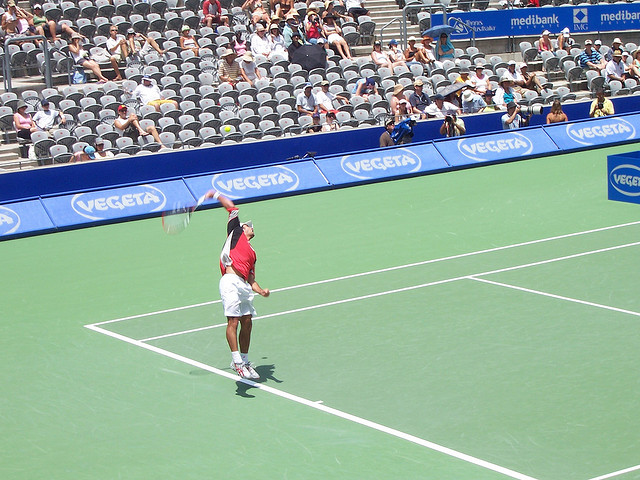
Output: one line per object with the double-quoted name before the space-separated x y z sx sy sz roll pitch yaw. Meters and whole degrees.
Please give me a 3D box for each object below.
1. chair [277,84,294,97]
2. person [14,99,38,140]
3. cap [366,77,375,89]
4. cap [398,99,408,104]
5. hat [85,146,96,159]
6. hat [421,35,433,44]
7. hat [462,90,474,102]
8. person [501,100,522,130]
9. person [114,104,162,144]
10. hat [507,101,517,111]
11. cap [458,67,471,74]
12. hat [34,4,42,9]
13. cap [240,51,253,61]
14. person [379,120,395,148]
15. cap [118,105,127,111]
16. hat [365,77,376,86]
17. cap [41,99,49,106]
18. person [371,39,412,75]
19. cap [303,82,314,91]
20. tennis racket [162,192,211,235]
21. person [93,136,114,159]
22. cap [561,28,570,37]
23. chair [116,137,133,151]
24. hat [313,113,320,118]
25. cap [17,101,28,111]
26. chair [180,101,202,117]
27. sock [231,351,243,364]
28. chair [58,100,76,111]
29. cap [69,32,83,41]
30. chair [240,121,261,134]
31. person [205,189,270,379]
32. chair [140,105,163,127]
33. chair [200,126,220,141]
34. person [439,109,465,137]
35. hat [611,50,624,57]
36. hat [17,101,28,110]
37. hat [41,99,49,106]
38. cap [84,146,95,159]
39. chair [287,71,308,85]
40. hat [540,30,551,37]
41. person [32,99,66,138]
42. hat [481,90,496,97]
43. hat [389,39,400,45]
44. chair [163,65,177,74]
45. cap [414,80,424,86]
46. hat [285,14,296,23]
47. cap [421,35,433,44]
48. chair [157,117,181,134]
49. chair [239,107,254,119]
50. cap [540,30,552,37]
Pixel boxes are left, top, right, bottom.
"chair" -0.951 -4.122 25.228 0.432 0.352 0.587 -10 12 2
"person" -7.060 -2.808 21.757 0.465 0.845 0.562 -15 13 -18
"cap" 1.397 -4.367 25.450 0.221 0.271 0.282 -10 -15 12
"cap" 2.166 -3.635 23.852 0.234 0.053 0.229 -1 3 -14
"hat" -5.290 -2.036 21.040 0.116 0.305 0.198 -38 1 35
"hat" 3.491 -6.441 29.346 0.290 0.081 0.265 9 -12 -32
"hat" 4.165 -4.017 25.421 0.350 0.327 0.232 -16 14 -26
"person" 5.209 -3.393 24.992 0.543 0.699 0.629 -6 13 17
"person" -4.464 -2.857 21.913 1.039 0.711 0.455 8 27 17
"hat" 5.217 -3.626 24.814 0.355 0.244 0.344 -1 8 5
"cap" 4.546 -5.323 28.682 0.513 0.157 0.487 4 9 22
"hat" -8.152 -6.699 26.227 0.245 0.114 0.345 -2 11 -11
"cap" -2.066 -5.047 25.318 0.299 0.148 0.296 31 35 7
"person" 1.694 -2.710 23.224 0.461 0.675 0.864 -10 12 4
"cap" -4.763 -3.184 21.927 0.195 0.110 0.268 -13 12 -14
"hat" 1.392 -4.425 25.526 0.221 0.204 0.441 -7 12 15
"cap" -6.736 -3.356 22.266 0.157 0.143 0.307 -12 12 -10
"person" 1.961 -5.625 28.194 1.639 1.036 0.703 19 30 29
"cap" -0.336 -4.213 24.798 0.268 0.128 0.373 -5 0 5
"tennis racket" -2.594 -0.508 17.440 0.312 0.674 2.055 -15 -10 -27
"person" -5.054 -2.141 21.105 0.427 0.461 0.978 -13 12 -11
"cap" 8.805 -7.417 32.728 0.273 0.319 0.770 -7 12 16
"chair" -4.584 -2.275 21.390 0.366 0.245 0.391 -13 12 -14
"hat" -0.109 -3.193 23.458 0.249 0.123 0.392 1 4 0
"cap" -7.205 -3.220 21.985 0.296 0.147 0.276 -31 8 -7
"chair" -3.290 -3.323 23.191 0.517 0.428 0.657 -12 12 -8
"sock" -1.159 1.615 12.668 0.112 0.194 0.150 -14 13 -13
"chair" -6.362 -3.388 22.889 0.284 0.347 0.298 -5 16 -29
"cap" -6.955 -5.790 25.840 0.420 0.170 0.400 -2 -9 -13
"chair" -1.755 -2.843 23.057 0.369 0.408 0.331 3 17 26
"person" -1.141 0.611 12.802 0.709 2.789 0.804 -12 13 -5
"chair" -4.206 -3.088 22.639 0.526 0.621 0.564 -9 14 -29
"chair" -2.734 -2.635 22.229 0.338 0.387 0.306 -7 32 -11
"person" 3.517 -3.080 24.415 0.609 0.630 0.933 -3 14 29
"hat" 9.678 -6.059 29.690 0.312 0.115 0.286 0 7 -10
"hat" -7.212 -3.232 22.003 0.275 0.137 0.266 -25 9 15
"hat" -6.734 -3.354 22.255 0.157 0.143 0.284 -12 12 -10
"cap" -5.322 -2.020 21.050 0.219 0.282 0.187 -13 13 -12
"chair" -0.588 -4.616 26.019 0.465 0.563 0.479 -8 18 -22
"hat" 7.862 -7.185 31.736 0.327 0.136 0.429 -9 3 7
"person" -6.562 -2.889 22.051 0.874 0.980 0.576 -2 6 -12
"hat" 4.697 -4.092 25.520 0.307 0.174 0.551 -8 12 8
"hat" 2.330 -6.304 29.115 0.302 0.160 0.443 0 11 -9
"chair" -4.202 -4.756 25.408 0.398 0.241 0.327 -11 12 -5
"cap" 2.659 -4.287 25.030 0.217 0.109 0.306 -4 6 -27
"hat" -0.912 -6.698 27.598 0.287 0.235 0.490 -10 12 -1
"cap" 3.485 -6.474 29.425 0.547 0.268 0.269 -20 16 -42
"chair" -3.694 -2.794 22.283 0.410 0.484 0.419 -4 10 -22
"chair" -1.913 -3.284 23.602 0.377 0.222 0.342 -11 12 -4
"cap" 7.870 -7.208 31.745 0.359 0.144 0.454 -10 4 9
